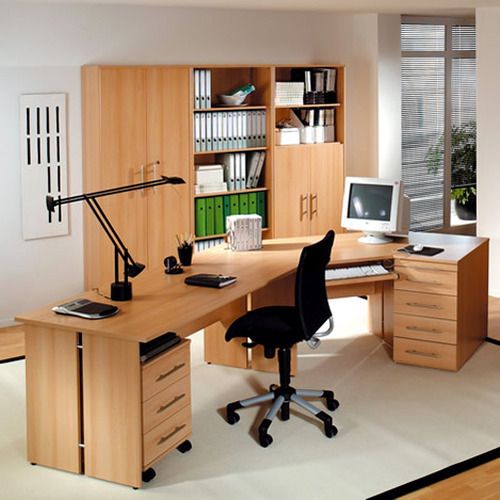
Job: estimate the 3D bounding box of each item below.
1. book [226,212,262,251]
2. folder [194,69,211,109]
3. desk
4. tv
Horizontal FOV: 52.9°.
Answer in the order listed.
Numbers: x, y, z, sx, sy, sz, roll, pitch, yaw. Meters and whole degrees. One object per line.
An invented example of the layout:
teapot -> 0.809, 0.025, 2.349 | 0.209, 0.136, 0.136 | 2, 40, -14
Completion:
book -> -0.055, -0.146, 3.681 | 0.334, 0.310, 0.241 | -2, 10, -6
folder -> -0.448, -1.522, 4.765 | 0.131, 0.391, 0.202 | 1, 10, 12
desk -> -0.022, 0.383, 3.700 | 3.344, 0.874, 2.233 | -8, 12, -35
tv -> 0.890, -0.298, 4.002 | 0.652, 0.635, 0.501 | 4, 9, 36
